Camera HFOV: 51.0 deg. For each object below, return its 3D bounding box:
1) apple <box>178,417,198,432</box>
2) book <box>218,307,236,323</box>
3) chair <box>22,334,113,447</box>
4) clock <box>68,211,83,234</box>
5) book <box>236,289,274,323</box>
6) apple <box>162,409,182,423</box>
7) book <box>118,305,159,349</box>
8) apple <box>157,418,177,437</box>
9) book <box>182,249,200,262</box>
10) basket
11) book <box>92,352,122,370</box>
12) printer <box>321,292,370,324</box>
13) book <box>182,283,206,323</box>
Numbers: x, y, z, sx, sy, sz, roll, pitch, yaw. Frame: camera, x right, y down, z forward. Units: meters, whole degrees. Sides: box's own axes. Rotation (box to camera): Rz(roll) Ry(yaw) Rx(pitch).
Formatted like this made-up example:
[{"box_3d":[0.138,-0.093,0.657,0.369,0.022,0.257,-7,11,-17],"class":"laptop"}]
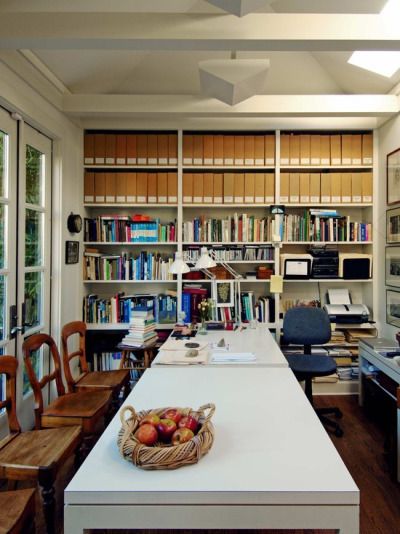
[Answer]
[{"box_3d":[-0.040,0.540,1.448,0.050,0.051,0.050,-11,16,-17],"class":"apple"},{"box_3d":[0.240,0.477,3.714,0.112,0.212,0.214,-5,-3,13],"class":"book"},{"box_3d":[-0.829,0.834,2.705,0.492,0.793,0.541,-1,0,-3],"class":"chair"},{"box_3d":[-1.081,-0.384,3.620,0.059,0.197,0.191,0,8,8],"class":"clock"},{"box_3d":[0.494,0.341,3.983,0.348,0.382,0.268,0,-2,-5],"class":"book"},{"box_3d":[-0.101,0.528,1.509,0.050,0.066,0.053,1,2,3],"class":"apple"},{"box_3d":[-0.512,0.451,3.529,0.263,0.306,0.411,0,3,7],"class":"book"},{"box_3d":[-0.115,0.549,1.423,0.052,0.055,0.054,2,6,-5],"class":"apple"},{"box_3d":[-0.095,-0.113,3.851,0.158,0.107,0.188,3,7,16],"class":"book"},{"box_3d":[-0.121,0.568,1.507,0.323,0.157,0.370,1,5,16],"class":"basket"},{"box_3d":[-0.852,0.866,3.875,0.192,0.205,0.114,0,2,2],"class":"book"},{"box_3d":[1.338,0.384,3.986,0.238,0.204,0.428,0,1,3],"class":"printer"},{"box_3d":[-0.071,0.337,3.842,0.271,0.416,0.289,1,-1,2],"class":"book"}]
